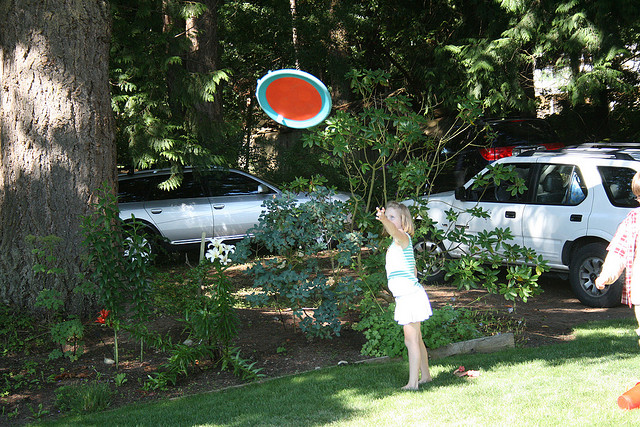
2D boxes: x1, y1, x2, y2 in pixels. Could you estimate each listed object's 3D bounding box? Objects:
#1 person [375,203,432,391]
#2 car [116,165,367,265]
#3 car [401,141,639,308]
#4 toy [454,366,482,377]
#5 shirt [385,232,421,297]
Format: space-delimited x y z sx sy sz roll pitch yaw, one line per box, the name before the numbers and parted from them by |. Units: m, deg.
person | 0.968 0.926 6.630 0.558 2.059 0.708 -1 7 12
car | -1.844 -0.002 11.802 5.413 2.009 2.235 -4 3 -3
car | 2.655 -0.066 9.568 4.106 2.266 2.509 8 10 38
toy | 1.717 1.852 6.792 0.333 0.073 0.174 5 11 43
shirt | 0.950 0.588 6.677 0.385 0.740 0.233 -2 7 10
